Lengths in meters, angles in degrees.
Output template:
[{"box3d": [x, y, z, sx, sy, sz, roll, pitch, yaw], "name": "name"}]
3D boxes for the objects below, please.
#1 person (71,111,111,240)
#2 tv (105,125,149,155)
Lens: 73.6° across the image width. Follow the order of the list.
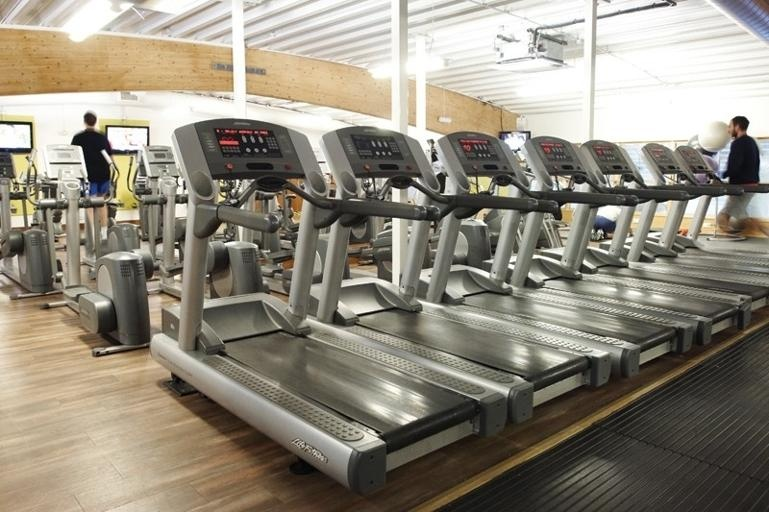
[{"box3d": [-4.046, -1.227, 7.679, 0.715, 1.695, 0.650, 11, 21, 27], "name": "person"}, {"box3d": [-6.736, -3.152, 13.721, 1.085, 0.777, 0.308, -12, 15, -41], "name": "tv"}]
